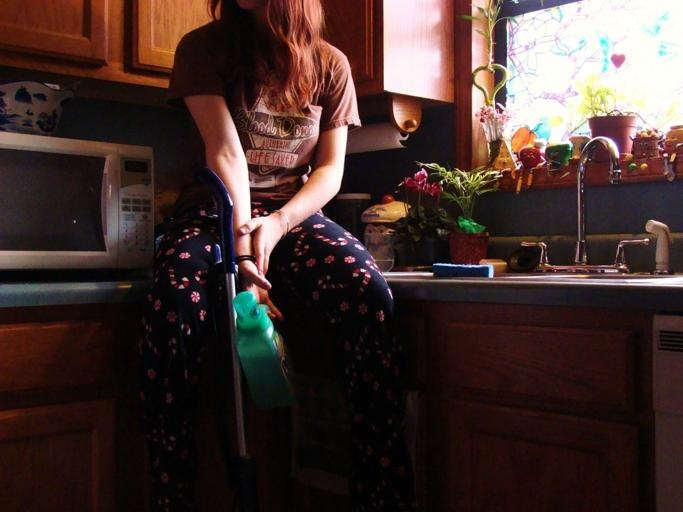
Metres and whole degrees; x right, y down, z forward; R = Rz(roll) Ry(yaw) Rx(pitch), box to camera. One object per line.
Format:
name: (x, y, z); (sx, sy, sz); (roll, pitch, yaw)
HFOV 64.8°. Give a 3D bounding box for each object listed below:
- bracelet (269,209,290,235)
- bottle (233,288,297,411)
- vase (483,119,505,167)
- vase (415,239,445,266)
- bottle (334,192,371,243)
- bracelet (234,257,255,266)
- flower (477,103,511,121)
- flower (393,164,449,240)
bracelet: (-0.156, -0.087, 1.372); (0.013, 0.058, 0.046); (-28, -12, 13)
bottle: (-0.168, 0.199, 1.160); (0.124, 0.238, 0.116); (0, 4, 0)
vase: (0.584, -0.418, 2.048); (0.083, 0.211, 0.083); (-9, 8, -22)
vase: (0.318, -0.010, 1.942); (0.096, 0.081, 0.090); (0, -2, 3)
bottle: (0.029, -0.155, 2.241); (0.172, 0.253, 0.176); (-1, 4, 0)
bracelet: (-0.226, 0.009, 1.264); (0.044, 0.020, 0.024); (-1, 5, -15)
flower: (0.584, -0.555, 2.078); (0.116, 0.087, 0.166); (1, 5, 14)
flower: (0.274, -0.191, 2.031); (0.248, 0.302, 0.248); (2, -2, -18)
